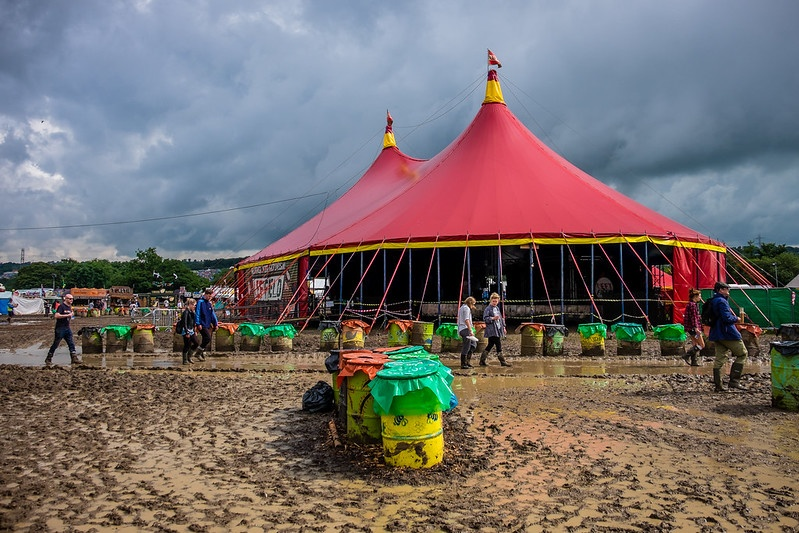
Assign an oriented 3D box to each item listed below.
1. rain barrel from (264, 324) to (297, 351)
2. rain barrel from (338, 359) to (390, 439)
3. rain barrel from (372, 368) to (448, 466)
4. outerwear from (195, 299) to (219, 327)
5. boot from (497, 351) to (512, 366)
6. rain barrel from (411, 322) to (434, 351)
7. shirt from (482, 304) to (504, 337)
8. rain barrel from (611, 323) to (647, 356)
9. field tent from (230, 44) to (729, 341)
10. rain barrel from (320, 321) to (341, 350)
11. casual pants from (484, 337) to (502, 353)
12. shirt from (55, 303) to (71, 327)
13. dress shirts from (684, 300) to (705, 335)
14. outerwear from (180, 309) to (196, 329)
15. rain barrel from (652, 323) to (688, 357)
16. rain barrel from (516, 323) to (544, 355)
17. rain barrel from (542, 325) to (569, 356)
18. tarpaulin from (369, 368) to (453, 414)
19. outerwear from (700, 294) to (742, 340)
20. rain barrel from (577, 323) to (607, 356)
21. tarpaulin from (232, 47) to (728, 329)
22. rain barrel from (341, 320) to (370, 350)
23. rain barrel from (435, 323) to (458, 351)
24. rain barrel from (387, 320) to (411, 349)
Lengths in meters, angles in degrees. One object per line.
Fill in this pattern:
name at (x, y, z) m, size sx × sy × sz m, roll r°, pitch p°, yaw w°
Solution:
rain barrel at (-3.344, 1.983, 17.605) m, size 0.726 × 0.603 × 0.727 m, roll 0°, pitch -3°, yaw -2°
rain barrel at (-0.580, 1.978, 9.492) m, size 1.095 × 1.098 × 1.020 m, roll 1°, pitch -7°, yaw -1°
rain barrel at (0.146, 2.163, 9.052) m, size 1.346 × 1.294 × 1.329 m, roll 2°, pitch -7°, yaw -28°
outerwear at (-4.962, 1.210, 16.157) m, size 0.334 × 0.777 × 0.812 m, roll -16°, pitch -14°, yaw 20°
boot at (2.420, 2.120, 14.552) m, size 0.276 × 0.380 × 0.468 m, roll 1°, pitch 12°, yaw 9°
rain barrel at (0.604, 1.857, 16.667) m, size 0.554 × 0.745 × 0.867 m, roll -6°, pitch 13°, yaw -26°
shirt at (2.186, 1.269, 14.521) m, size 0.457 × 0.790 × 0.405 m, roll 0°, pitch 12°, yaw 0°
rain barrel at (5.801, 1.889, 16.223) m, size 0.853 × 0.816 × 0.727 m, roll 0°, pitch -6°, yaw 1°
field tent at (3.190, -1.138, 27.527) m, size 13.873 × 7.763 × 13.829 m, roll 0°, pitch -7°, yaw 1°
rain barrel at (-1.940, 1.891, 17.396) m, size 0.848 × 0.895 × 0.819 m, roll 1°, pitch -11°, yaw -4°
casual pants at (2.164, 1.803, 14.579) m, size 0.358 × 0.456 × 0.459 m, roll 1°, pitch 12°, yaw 8°
shirt at (-8.406, 1.230, 15.792) m, size 0.349 × 0.703 × 0.405 m, roll -6°, pitch 13°, yaw -24°
dress shirts at (6.831, 1.108, 14.693) m, size 0.408 × 0.701 × 0.763 m, roll -2°, pitch 0°, yaw 21°
outerwear at (-5.159, 1.300, 15.431) m, size 0.471 × 0.504 × 0.288 m, roll 1°, pitch 2°, yaw -7°
rain barrel at (6.750, 1.858, 16.022) m, size 0.771 × 0.805 × 0.760 m, roll 0°, pitch -4°, yaw 5°
rain barrel at (3.459, 1.955, 16.561) m, size 0.742 × 0.854 × 0.733 m, roll 2°, pitch -9°, yaw 0°
rain barrel at (4.040, 1.913, 16.391) m, size 0.701 × 0.668 × 0.682 m, roll 2°, pitch -11°, yaw -7°
tarpaulin at (0.101, 1.778, 9.024) m, size 1.165 × 0.509 × 1.299 m, roll -3°, pitch -2°, yaw -24°
outerwear at (6.072, 0.974, 11.870) m, size 0.676 × 0.866 × 0.714 m, roll -1°, pitch -8°, yaw 18°
rain barrel at (4.934, 1.872, 16.235) m, size 0.756 × 0.845 × 0.799 m, roll -4°, pitch -7°, yaw 9°
tarpaulin at (3.749, -0.940, 27.533) m, size 13.823 × 7.793 × 13.795 m, roll 0°, pitch -7°, yaw 2°
rain barrel at (-1.101, 1.791, 16.373) m, size 0.910 × 0.789 × 0.875 m, roll 1°, pitch -15°, yaw -5°
rain barrel at (1.311, 1.942, 16.823) m, size 0.624 × 0.755 × 0.475 m, roll 2°, pitch 12°, yaw 14°
rain barrel at (-0.025, 1.823, 16.975) m, size 0.660 × 0.633 × 0.660 m, roll 1°, pitch -12°, yaw -3°
